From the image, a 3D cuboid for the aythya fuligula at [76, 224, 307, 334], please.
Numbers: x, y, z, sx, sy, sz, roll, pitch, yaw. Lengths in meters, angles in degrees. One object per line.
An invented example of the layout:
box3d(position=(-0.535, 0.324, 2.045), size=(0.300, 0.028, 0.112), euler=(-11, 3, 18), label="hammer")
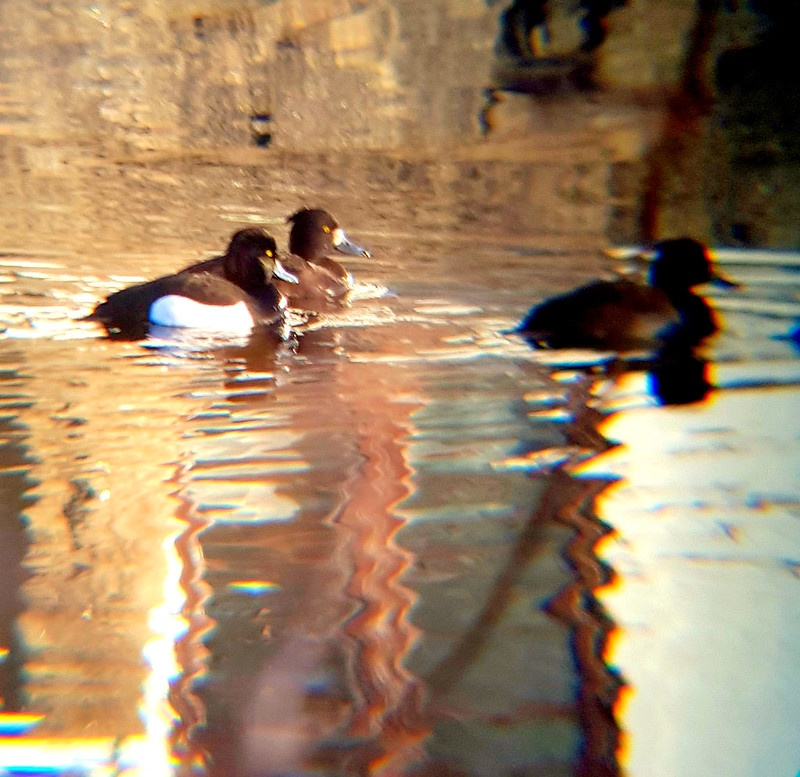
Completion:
box3d(position=(-0.835, -0.363, 3.043), size=(0.928, 0.369, 0.395), euler=(-4, 30, -17), label="aythya fuligula")
